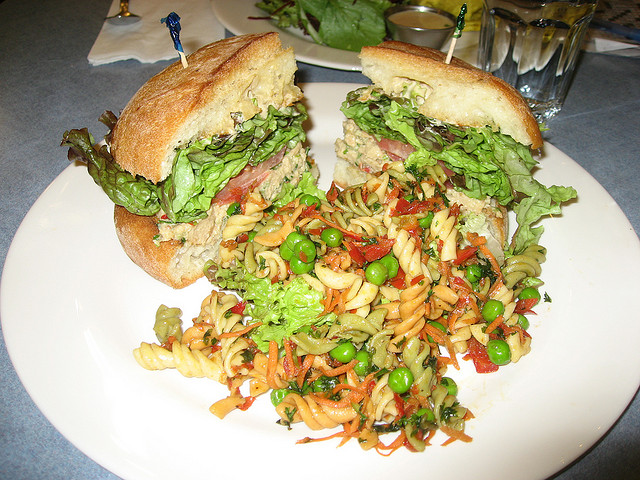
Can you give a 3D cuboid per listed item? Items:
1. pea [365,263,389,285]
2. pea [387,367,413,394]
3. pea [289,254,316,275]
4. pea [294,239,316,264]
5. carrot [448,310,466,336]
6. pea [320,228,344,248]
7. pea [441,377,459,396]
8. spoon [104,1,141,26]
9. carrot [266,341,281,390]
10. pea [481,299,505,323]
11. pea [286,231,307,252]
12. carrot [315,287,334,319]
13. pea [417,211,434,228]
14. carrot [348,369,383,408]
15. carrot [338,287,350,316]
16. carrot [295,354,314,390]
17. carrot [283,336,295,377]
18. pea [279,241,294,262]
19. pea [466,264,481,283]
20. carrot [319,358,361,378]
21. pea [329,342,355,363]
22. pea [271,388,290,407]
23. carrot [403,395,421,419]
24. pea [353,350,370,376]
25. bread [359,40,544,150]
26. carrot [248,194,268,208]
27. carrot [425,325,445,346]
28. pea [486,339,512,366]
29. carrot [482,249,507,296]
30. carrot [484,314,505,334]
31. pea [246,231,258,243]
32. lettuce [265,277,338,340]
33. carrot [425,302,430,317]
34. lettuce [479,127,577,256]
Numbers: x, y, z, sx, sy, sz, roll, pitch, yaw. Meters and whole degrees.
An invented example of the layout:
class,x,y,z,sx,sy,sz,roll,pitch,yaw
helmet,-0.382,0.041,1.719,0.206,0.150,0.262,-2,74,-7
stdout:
class,x,y,z,sx,sy,sz,roll,pitch,yaw
pea,0.401,0.242,3.943,0.135,0.145,0.147,-9,79,26
pea,0.532,0.906,3.624,0.179,0.082,0.150,-40,77,-6
pea,-0.125,0.166,3.961,0.144,0.110,0.119,-7,83,-6
pea,-0.101,0.074,3.992,0.153,0.142,0.174,-4,104,-17
carrot,0.960,0.581,3.902,0.104,0.041,0.146,-6,63,48
pea,0.095,-0.027,4.131,0.172,0.136,0.138,18,104,14
pea,0.867,0.969,3.681,0.126,0.087,0.104,18,78,8
spoon,-2.159,-2.476,6.179,0.258,0.177,0.328,-1,75,1
carrot,-0.317,0.824,3.682,0.086,0.070,0.317,-4,76,3
pea,1.189,0.476,3.869,0.155,0.126,0.117,-37,47,-25
pea,-0.186,-0.007,4.062,0.123,0.123,0.167,32,107,52
carrot,0.048,0.415,3.803,0.078,0.047,0.214,13,68,0
pea,0.791,-0.143,4.154,0.095,0.125,0.070,10,46,-14
carrot,0.276,0.968,3.613,0.083,0.285,0.043,25,113,23
carrot,0.156,0.421,3.825,0.089,0.037,0.158,16,79,18
carrot,-0.108,0.881,3.706,0.079,0.061,0.254,-17,34,42
carrot,-0.203,0.770,3.694,0.048,0.045,0.225,-12,71,4
pea,-0.252,0.070,4.042,0.129,0.119,0.154,-4,100,-22
pea,1.110,0.239,4.007,0.089,0.091,0.120,0,73,5
carrot,0.136,0.849,3.662,0.238,0.078,0.108,-27,43,6
pea,0.152,0.740,3.744,0.141,0.115,0.109,-1,39,20
pea,-0.278,1.014,3.651,0.097,0.046,0.130,38,81,12
carrot,0.599,1.072,3.559,0.108,0.038,0.113,0,85,-19
pea,0.281,0.810,3.692,0.125,0.133,0.157,1,96,8
bread,1.068,-1.056,4.575,1.517,0.853,0.426,30,106,8
carrot,-0.459,-0.315,4.249,0.100,0.080,0.029,55,128,29
carrot,0.792,0.642,3.763,0.149,0.048,0.088,38,83,8
pea,1.182,0.734,3.706,0.128,0.177,0.139,0,119,1
carrot,1.294,0.234,4.096,0.158,0.190,0.343,-4,76,4
carrot,1.200,0.574,3.804,0.202,0.055,0.058,-36,71,-14
pea,-0.516,-0.025,4.216,0.058,0.041,0.076,-14,79,-9
lettuce,-0.154,0.448,3.835,0.385,0.140,0.390,-27,77,-6
carrot,0.744,0.478,3.862,0.043,0.026,0.083,4,84,-3
lettuce,1.610,-0.411,4.434,0.588,0.575,1.102,1,108,-2
